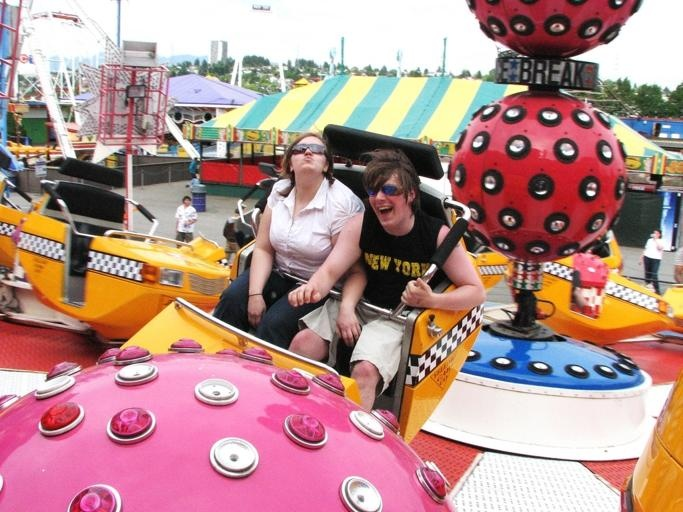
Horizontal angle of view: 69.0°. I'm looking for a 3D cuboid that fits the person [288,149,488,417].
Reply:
[{"bbox_3d":[0.258,0.075,2.648,0.806,1.252,0.712,11,12,27],"label":"person"}]
